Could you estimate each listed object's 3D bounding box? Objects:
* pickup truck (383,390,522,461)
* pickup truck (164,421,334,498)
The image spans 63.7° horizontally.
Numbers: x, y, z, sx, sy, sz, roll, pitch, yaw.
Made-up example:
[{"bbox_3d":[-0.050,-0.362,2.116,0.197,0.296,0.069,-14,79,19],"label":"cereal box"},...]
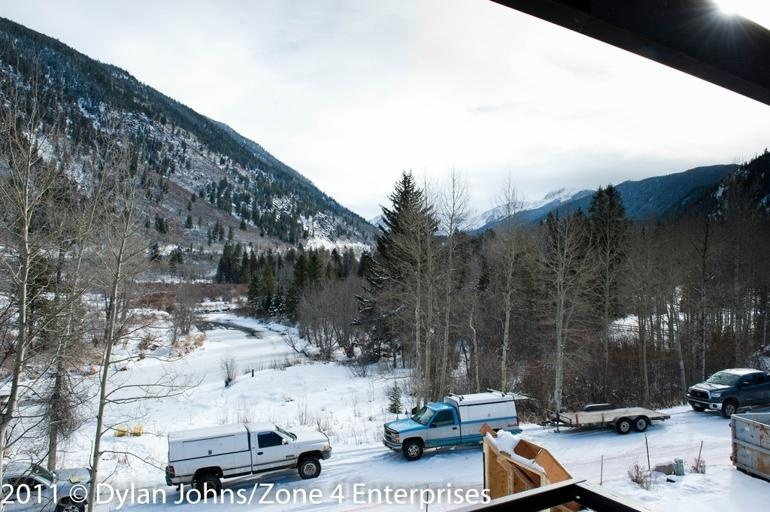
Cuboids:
[{"bbox_3d":[4.507,12.112,44.226,9.726,4.413,4.126,-1,-6,-13],"label":"pickup truck"},{"bbox_3d":[-9.249,13.864,41.483,9.230,3.727,4.781,-4,-2,-18],"label":"pickup truck"}]
